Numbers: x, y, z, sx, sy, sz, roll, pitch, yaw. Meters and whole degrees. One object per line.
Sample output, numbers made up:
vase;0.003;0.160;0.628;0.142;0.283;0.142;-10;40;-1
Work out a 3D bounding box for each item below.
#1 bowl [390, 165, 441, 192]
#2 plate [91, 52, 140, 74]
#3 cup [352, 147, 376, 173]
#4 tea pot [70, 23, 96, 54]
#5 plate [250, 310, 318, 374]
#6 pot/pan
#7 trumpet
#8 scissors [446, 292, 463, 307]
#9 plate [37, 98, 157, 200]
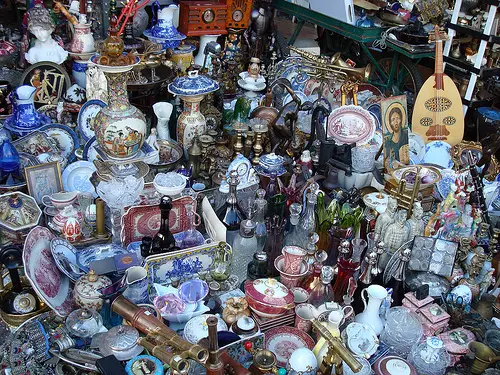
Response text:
bowl;1.196;-0.075;2.910;0.227;0.073;0.236;-3;28;2
plate;-0.755;-0.686;2.266;0.159;0.040;0.165;-17;46;-21
cup;0.840;-0.223;3.008;0.172;0.182;0.170;-4;22;2
tea pot;-1.495;-1.295;3.590;0.200;0.288;0.203;12;27;-6
plate;0.156;0.757;1.955;0.252;0.069;0.269;-2;40;-9
pot/pan;0.096;0.548;2.044;0.186;0.137;0.236;-1;21;-29
trumpet;0.675;-1.116;3.850;0.634;0.249;0.198;13;47;17
scissors;1.165;0.649;2.315;0.055;0.022;0.082;4;21;12
plate;-0.995;-0.272;2.794;0.855;0.638;0.144;-11;-5;42
